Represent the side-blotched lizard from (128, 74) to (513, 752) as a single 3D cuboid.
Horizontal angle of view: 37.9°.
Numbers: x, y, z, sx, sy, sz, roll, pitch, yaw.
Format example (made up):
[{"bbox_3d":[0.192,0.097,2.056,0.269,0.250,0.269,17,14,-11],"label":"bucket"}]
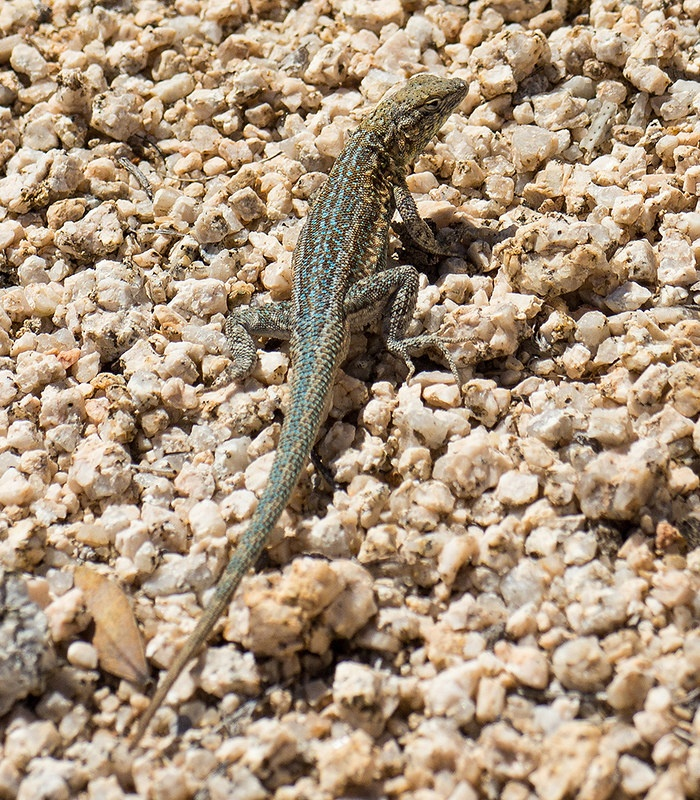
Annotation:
[{"bbox_3d":[-0.057,-0.356,3.997,0.849,0.582,2.670,15,53,10],"label":"side-blotched lizard"}]
